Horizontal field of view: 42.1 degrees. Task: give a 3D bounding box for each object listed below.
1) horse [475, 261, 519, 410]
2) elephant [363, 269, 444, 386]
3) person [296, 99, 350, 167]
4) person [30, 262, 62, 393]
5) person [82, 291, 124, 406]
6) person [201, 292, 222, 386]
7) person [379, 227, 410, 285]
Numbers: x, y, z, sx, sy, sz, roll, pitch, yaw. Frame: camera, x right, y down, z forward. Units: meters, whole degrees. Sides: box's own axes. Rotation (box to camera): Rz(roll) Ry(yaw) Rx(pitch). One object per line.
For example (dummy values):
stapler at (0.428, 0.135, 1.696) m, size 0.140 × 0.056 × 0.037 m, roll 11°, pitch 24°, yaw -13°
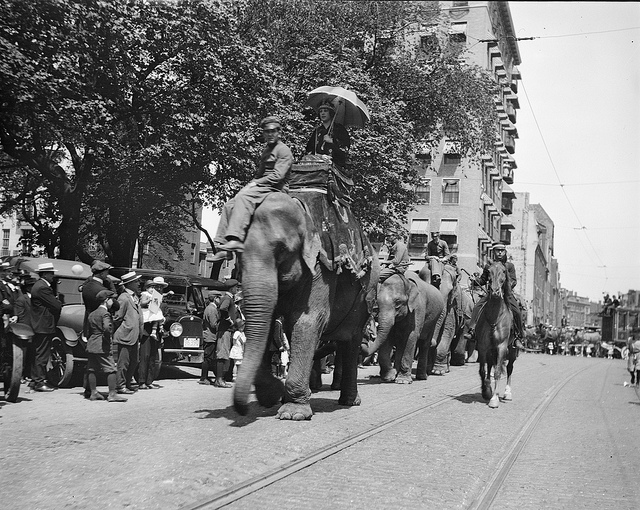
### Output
horse at (3.578, 1.554, 16.829) m, size 0.853 × 2.826 × 1.705 m, roll 3°, pitch 1°, yaw 15°
elephant at (1.959, 1.721, 20.797) m, size 1.346 × 2.860 × 4.624 m, roll 1°, pitch -2°, yaw 25°
person at (0.142, -2.254, 15.154) m, size 0.814 × 1.083 × 0.670 m, roll 3°, pitch 1°, yaw 0°
person at (-5.317, 1.570, 15.988) m, size 0.531 × 1.786 × 0.716 m, roll 3°, pitch 1°, yaw -19°
person at (-4.029, 1.680, 15.510) m, size 0.625 × 1.621 × 0.859 m, roll 3°, pitch 1°, yaw -33°
person at (-2.408, 1.869, 18.343) m, size 0.397 × 1.681 × 1.033 m, roll 3°, pitch 1°, yaw -8°
person at (1.880, -0.054, 21.117) m, size 0.906 × 1.338 × 0.785 m, roll 14°, pitch 13°, yaw 13°
